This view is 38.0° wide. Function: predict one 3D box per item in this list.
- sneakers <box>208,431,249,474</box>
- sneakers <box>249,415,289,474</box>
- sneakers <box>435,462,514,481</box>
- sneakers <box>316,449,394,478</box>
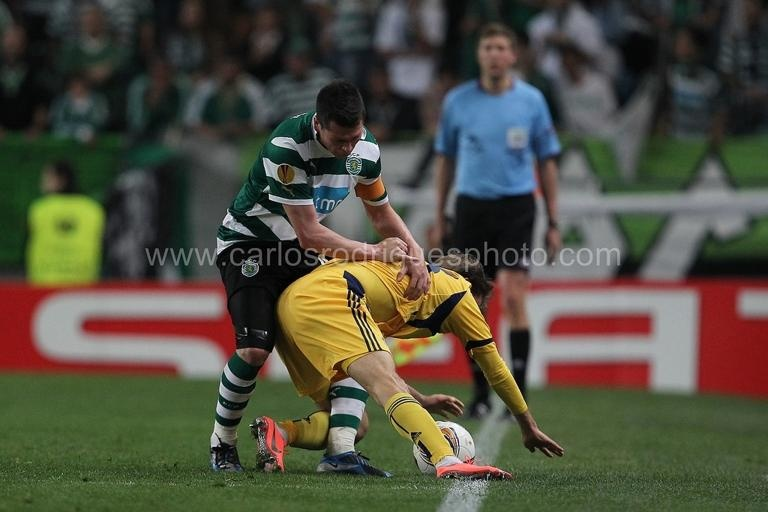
[{"bbox_3d":[-1.183,1.537,8.399,0.141,0.166,0.391,-22,64,-25],"label":"sneakers"},{"bbox_3d":[-0.853,1.435,8.373,0.176,0.495,0.216,-6,40,4],"label":"sneakers"},{"bbox_3d":[0.663,1.548,7.997,0.499,0.135,0.192,-1,-4,-11],"label":"sneakers"},{"bbox_3d":[-0.197,1.580,8.451,0.607,0.232,0.207,3,-9,1],"label":"sneakers"}]
